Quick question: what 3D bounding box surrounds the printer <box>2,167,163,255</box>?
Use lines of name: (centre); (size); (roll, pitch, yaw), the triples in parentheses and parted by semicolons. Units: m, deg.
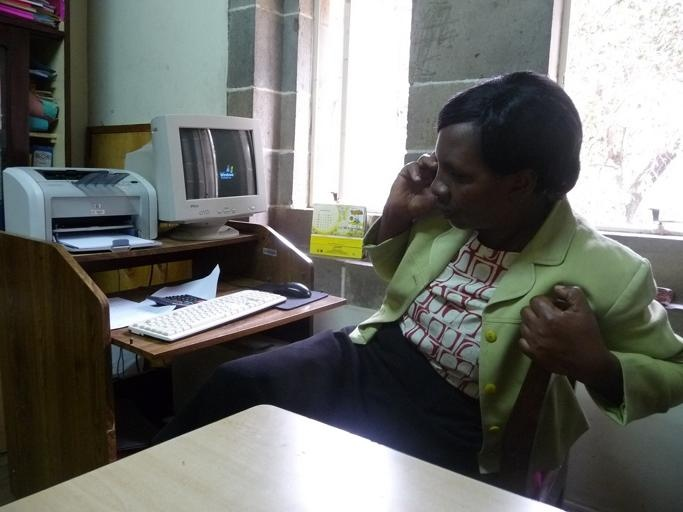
printer: (-0.965, -0.184, 1.978); (0.361, 0.227, 0.507); (-2, 14, -43)

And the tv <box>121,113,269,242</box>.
tv: (-0.557, -0.342, 2.399); (0.493, 0.636, 0.663); (10, 12, 36)

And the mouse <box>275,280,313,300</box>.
mouse: (-0.179, 0.125, 2.111); (0.112, 0.038, 0.063); (8, 10, 28)
